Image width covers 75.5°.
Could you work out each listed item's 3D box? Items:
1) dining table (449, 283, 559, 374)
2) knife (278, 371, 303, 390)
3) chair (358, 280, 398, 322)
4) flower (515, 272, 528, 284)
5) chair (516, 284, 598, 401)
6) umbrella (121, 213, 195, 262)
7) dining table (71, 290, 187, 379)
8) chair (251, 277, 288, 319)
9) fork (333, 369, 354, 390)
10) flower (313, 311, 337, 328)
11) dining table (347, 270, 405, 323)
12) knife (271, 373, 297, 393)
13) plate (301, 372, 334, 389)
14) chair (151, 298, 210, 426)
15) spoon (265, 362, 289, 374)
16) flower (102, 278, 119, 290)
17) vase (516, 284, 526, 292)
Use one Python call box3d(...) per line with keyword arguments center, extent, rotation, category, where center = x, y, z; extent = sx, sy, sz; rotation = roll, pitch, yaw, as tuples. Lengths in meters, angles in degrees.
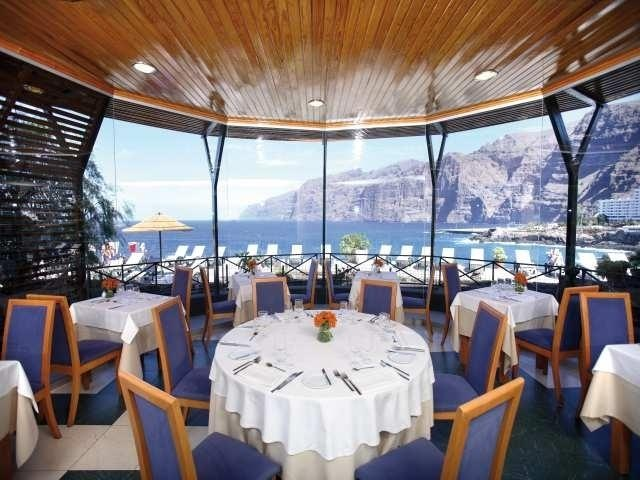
box3d(center=(2.304, 0.849, 5.029), extent=(1.096, 0.821, 1.109), rotation=(-1, 4, -20), category="dining table")
box3d(center=(-0.236, 1.086, 3.251), extent=(0.061, 0.013, 0.309), rotation=(16, 20, 27), category="knife")
box3d(center=(0.727, 0.731, 5.128), extent=(0.407, 0.748, 0.477), rotation=(1, -2, 25), category="chair")
box3d(center=(2.515, 0.464, 5.209), extent=(0.121, 0.165, 0.161), rotation=(14, -20, -7), category="flower")
box3d(center=(2.669, 1.106, 4.752), extent=(0.594, 1.127, 0.638), rotation=(2, 2, -26), category="chair")
box3d(center=(-2.612, 0.048, 6.512), extent=(0.770, 0.650, 0.835), rotation=(8, 12, 30), category="umbrella")
box3d(center=(-2.227, 0.926, 4.928), extent=(1.130, 0.674, 1.108), rotation=(5, 5, 26), category="dining table")
box3d(center=(-0.699, 0.718, 5.246), extent=(0.414, 0.789, 0.448), rotation=(0, 1, -17), category="chair")
box3d(center=(0.183, 1.095, 3.238), extent=(0.051, 0.045, 0.371), rotation=(-14, 10, -9), category="fork")
box3d(center=(0.044, 0.713, 3.776), extent=(0.150, 0.110, 0.155), rotation=(-2, 2, 7), category="flower")
box3d(center=(0.880, 0.874, 6.343), extent=(0.935, 0.525, 0.959), rotation=(-4, -3, -7), category="dining table")
box3d(center=(-0.273, 1.106, 3.205), extent=(0.063, 0.014, 0.317), rotation=(16, 21, 26), category="knife")
box3d(center=(-0.020, 1.098, 3.206), extent=(0.223, 0.096, 0.192), rotation=(-2, 0, -33), category="plate")
box3d(center=(-1.156, 1.266, 4.017), extent=(0.687, 1.346, 0.693), rotation=(0, 2, -1), category="chair")
box3d(center=(-0.348, 1.039, 3.362), extent=(0.058, 0.044, 0.301), rotation=(-4, 3, -34), category="spoon")
box3d(center=(-2.569, 0.532, 5.051), extent=(0.133, 0.104, 0.163), rotation=(3, -7, -32), category="flower")
box3d(center=(2.520, 0.600, 5.180), extent=(0.091, 0.071, 0.093), rotation=(4, 3, 44), category="vase")
